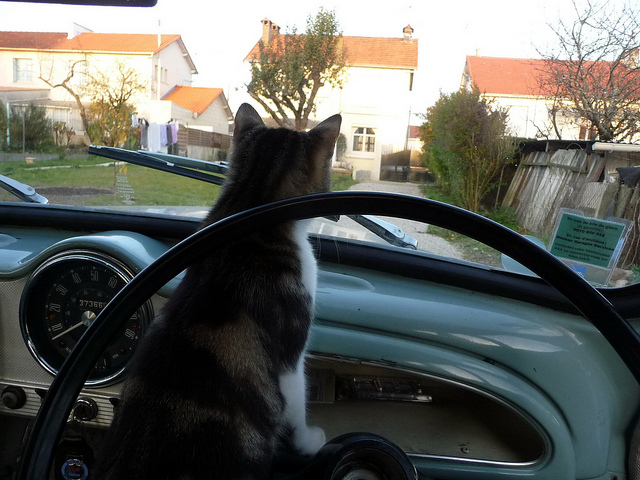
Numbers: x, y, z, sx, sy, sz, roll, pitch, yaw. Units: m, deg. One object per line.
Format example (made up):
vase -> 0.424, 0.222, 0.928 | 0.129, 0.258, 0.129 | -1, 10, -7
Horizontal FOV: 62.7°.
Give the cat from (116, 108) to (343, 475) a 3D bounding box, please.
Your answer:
cat -> -0.292, 0.105, 1.797 | 0.607, 1.133, 1.103 | 6, 9, 1
